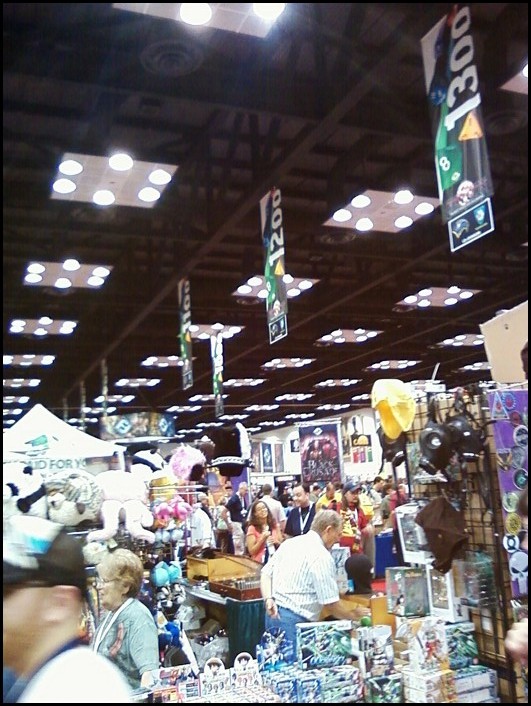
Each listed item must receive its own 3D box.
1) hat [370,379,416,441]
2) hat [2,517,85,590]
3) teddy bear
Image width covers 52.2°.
[{"bbox_3d":[0.753,0.335,3.193,0.337,0.408,0.311,3,-7,8],"label":"hat"},{"bbox_3d":[-0.810,0.699,1.945,0.218,0.242,0.278,11,-17,-38],"label":"hat"},{"bbox_3d":[-0.747,0.652,2.372,0.635,0.223,0.507,9,-3,-36],"label":"teddy bear"}]
